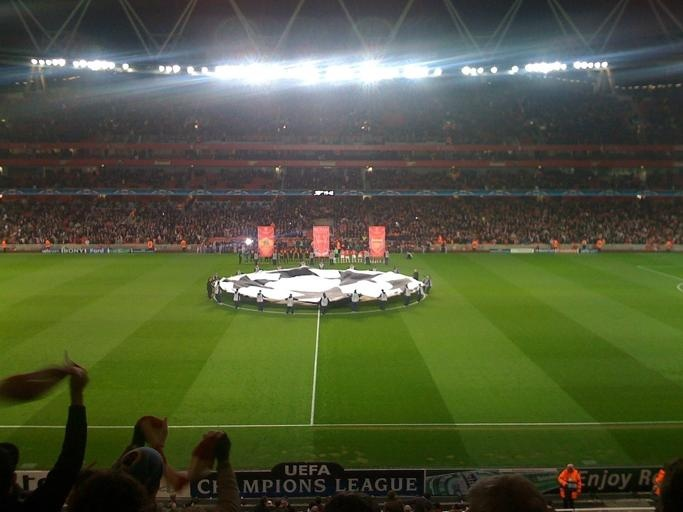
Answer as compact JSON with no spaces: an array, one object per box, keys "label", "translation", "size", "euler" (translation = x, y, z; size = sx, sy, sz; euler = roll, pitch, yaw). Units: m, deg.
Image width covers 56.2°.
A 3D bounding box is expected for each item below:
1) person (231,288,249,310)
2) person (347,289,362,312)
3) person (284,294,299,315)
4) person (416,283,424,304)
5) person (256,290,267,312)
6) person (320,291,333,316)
[{"label":"person","translation":[-6.971,2.823,43.437],"size":[0.772,1.293,1.461],"euler":[-1,0,-10]},{"label":"person","translation":[0.905,2.953,42.613],"size":[0.729,1.368,1.363],"euler":[-1,0,3]},{"label":"person","translation":[-3.334,3.111,42.201],"size":[0.682,1.298,1.439],"euler":[-1,0,-5]},{"label":"person","translation":[5.584,2.566,45.317],"size":[0.608,0.826,1.622],"euler":[-1,0,8]},{"label":"person","translation":[-5.380,2.952,42.553],"size":[0.533,1.373,1.231],"euler":[-1,-1,-7]},{"label":"person","translation":[-1.133,3.082,42.370],"size":[0.613,1.392,1.085],"euler":[-1,-1,2]}]
